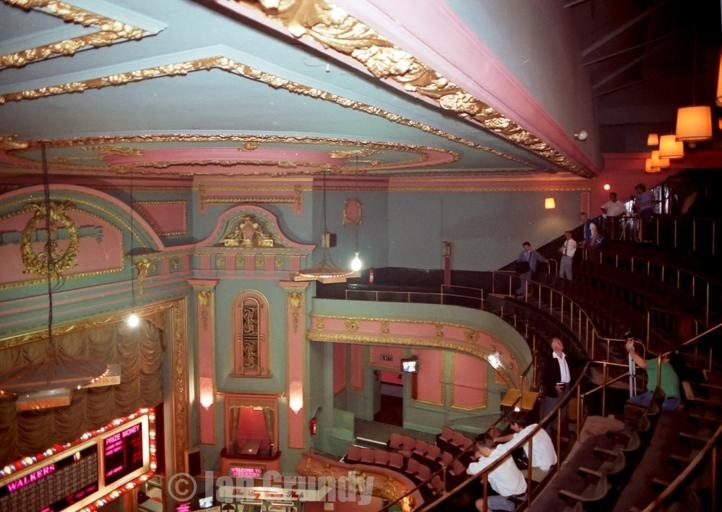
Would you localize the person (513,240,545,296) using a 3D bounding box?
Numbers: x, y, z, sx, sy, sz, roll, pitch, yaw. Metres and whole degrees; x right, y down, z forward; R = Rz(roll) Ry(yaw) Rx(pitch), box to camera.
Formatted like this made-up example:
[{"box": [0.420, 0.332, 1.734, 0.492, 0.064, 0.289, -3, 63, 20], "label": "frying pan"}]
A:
[{"box": [4.821, 0.389, 15.130, 0.691, 1.583, 1.066, -1, -2, 10], "label": "person"}]

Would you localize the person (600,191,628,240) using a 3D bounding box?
[{"box": [7.007, -1.115, 14.574, 0.489, 1.325, 1.525, -1, -2, 25], "label": "person"}]

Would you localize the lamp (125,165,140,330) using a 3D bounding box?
[{"box": [-6.296, -0.131, 14.511, 0.304, 4.220, 0.529, 0, -2, -8], "label": "lamp"}]

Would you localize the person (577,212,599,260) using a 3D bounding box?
[{"box": [6.429, -0.608, 14.707, 0.456, 1.406, 2.008, -1, -2, 22], "label": "person"}]

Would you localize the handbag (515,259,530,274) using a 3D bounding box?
[{"box": [4.616, 0.284, 14.998, 0.411, 0.364, 0.353, -2, -2, 29], "label": "handbag"}]

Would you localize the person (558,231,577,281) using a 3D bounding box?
[{"box": [5.561, -0.031, 14.209, 0.416, 1.343, 1.403, -1, -2, 20], "label": "person"}]
